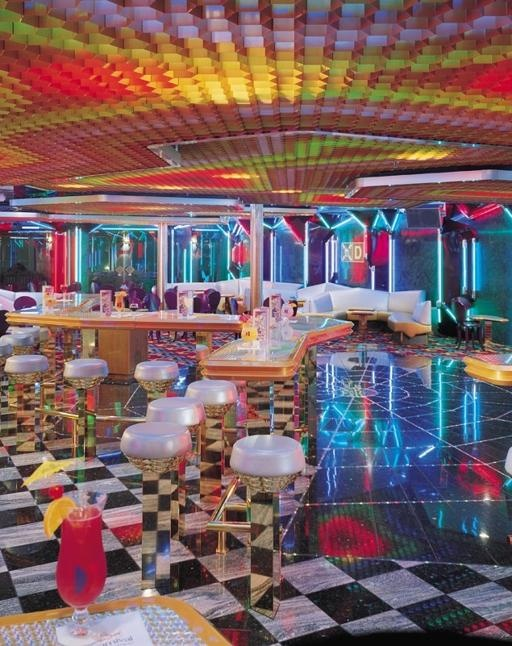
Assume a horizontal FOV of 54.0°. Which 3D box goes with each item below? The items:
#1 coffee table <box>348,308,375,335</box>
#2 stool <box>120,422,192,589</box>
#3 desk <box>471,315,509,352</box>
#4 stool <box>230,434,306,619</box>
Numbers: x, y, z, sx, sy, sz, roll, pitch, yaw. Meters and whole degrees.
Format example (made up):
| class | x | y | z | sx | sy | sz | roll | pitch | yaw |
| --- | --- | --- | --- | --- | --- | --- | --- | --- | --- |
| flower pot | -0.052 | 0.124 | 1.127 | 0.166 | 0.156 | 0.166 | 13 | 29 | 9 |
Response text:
| class | x | y | z | sx | sy | sz | roll | pitch | yaw |
| --- | --- | --- | --- | --- | --- | --- | --- | --- | --- |
| coffee table | 2.768 | -0.039 | 13.211 | 0.768 | 0.641 | 0.671 | -1 | -4 | 9 |
| stool | -0.470 | 0.886 | 2.447 | 0.315 | 0.811 | 0.392 | -1 | 4 | -6 |
| desk | 4.940 | 0.182 | 10.333 | 0.907 | 0.668 | 0.876 | -2 | 4 | -27 |
| stool | 0.046 | 0.918 | 2.306 | 0.316 | 0.789 | 0.407 | -1 | 4 | -7 |
